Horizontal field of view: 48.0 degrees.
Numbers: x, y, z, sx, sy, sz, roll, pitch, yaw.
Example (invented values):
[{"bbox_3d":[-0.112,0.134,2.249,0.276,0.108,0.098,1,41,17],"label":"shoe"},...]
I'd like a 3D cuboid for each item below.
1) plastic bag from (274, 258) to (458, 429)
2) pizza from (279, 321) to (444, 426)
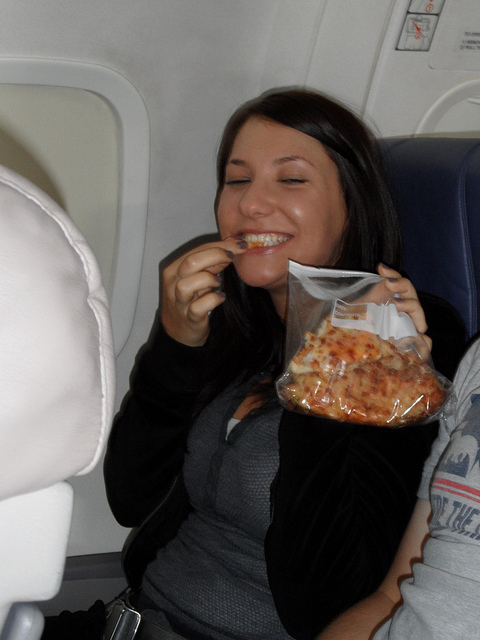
[{"bbox_3d":[0.201,0.051,0.963,0.325,0.066,0.275,29,66,12],"label":"plastic bag"},{"bbox_3d":[0.211,0.111,0.937,0.217,0.070,0.174,25,61,13],"label":"pizza"}]
